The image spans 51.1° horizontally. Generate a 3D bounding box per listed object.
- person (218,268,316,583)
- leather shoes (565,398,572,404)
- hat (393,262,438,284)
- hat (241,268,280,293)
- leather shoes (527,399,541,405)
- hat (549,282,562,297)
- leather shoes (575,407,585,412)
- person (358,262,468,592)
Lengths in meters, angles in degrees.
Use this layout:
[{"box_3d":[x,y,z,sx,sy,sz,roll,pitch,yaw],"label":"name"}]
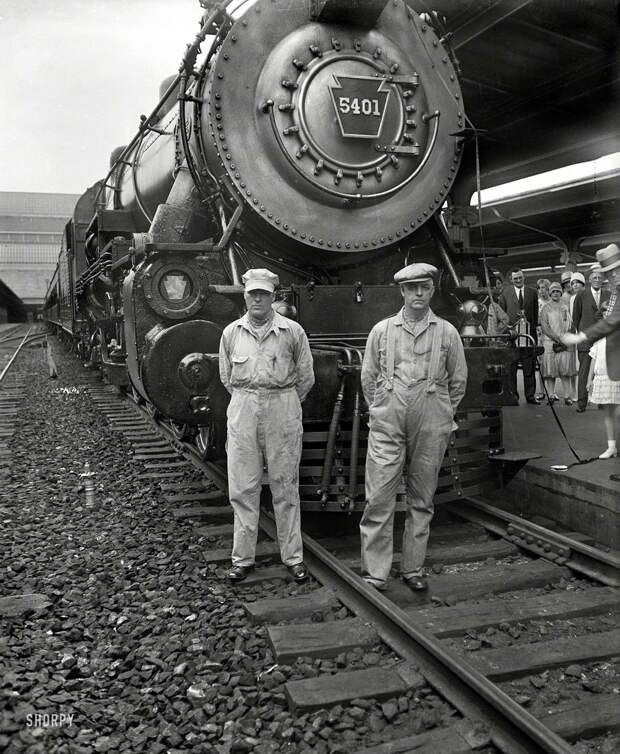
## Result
[{"box_3d":[-0.236,0.252,3.675,0.531,1.685,0.356,-1,4,-11],"label":"person"},{"box_3d":[3.747,0.356,9.346,0.051,0.080,0.174,-1,-4,5],"label":"leather shoes"},{"box_3d":[0.563,-0.540,3.444,0.202,0.114,0.185,2,4,25],"label":"hat"},{"box_3d":[-0.279,-0.535,3.653,0.183,0.150,0.243,-1,4,-6],"label":"hat"},{"box_3d":[3.239,0.369,9.316,0.071,0.106,0.216,1,-5,-13],"label":"leather shoes"},{"box_3d":[3.417,-1.192,8.986,0.123,0.186,0.202,0,-5,7],"label":"hat"},{"box_3d":[3.508,0.428,8.333,0.039,0.066,0.129,-1,-8,5],"label":"leather shoes"},{"box_3d":[0.555,0.279,3.445,0.552,1.715,0.250,0,4,6],"label":"person"}]
